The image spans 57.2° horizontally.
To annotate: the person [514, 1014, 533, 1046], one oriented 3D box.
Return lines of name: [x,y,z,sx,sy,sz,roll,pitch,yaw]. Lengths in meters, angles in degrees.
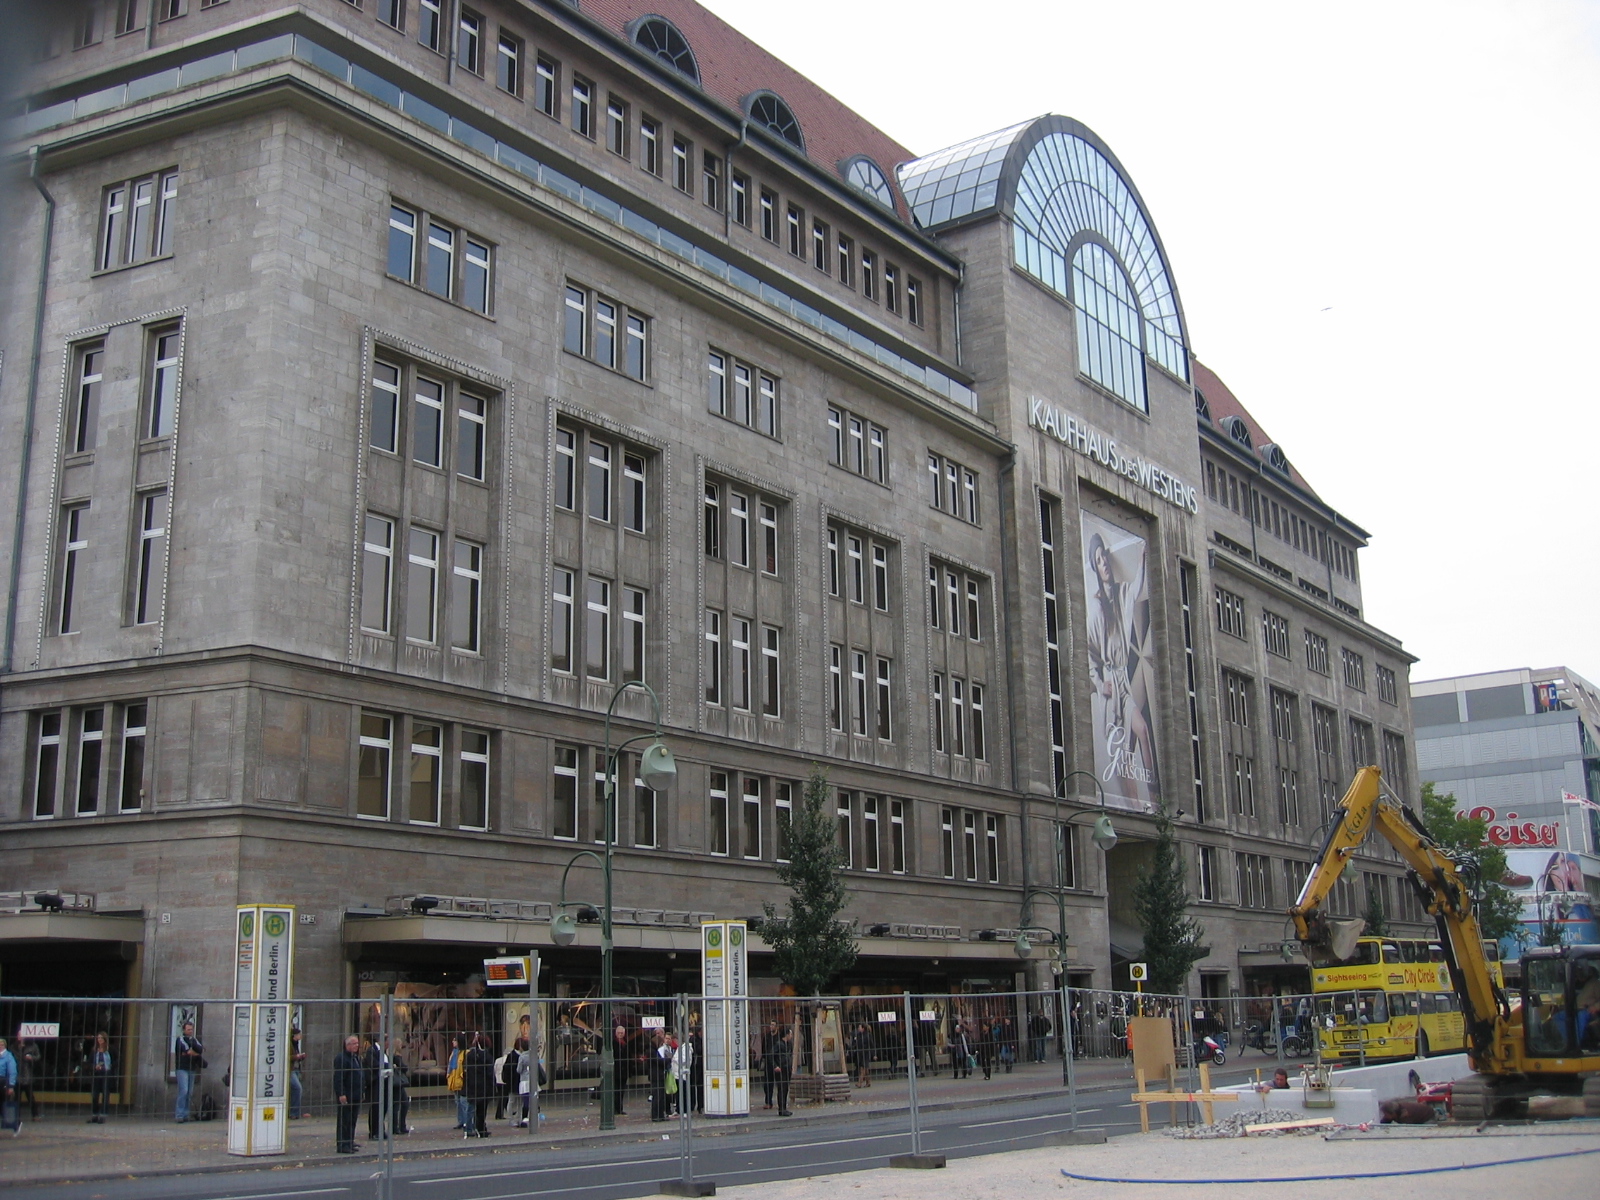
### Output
person: [-3.934,6.113,21.072,0.241,0.403,0.731,1,-21,-11]
